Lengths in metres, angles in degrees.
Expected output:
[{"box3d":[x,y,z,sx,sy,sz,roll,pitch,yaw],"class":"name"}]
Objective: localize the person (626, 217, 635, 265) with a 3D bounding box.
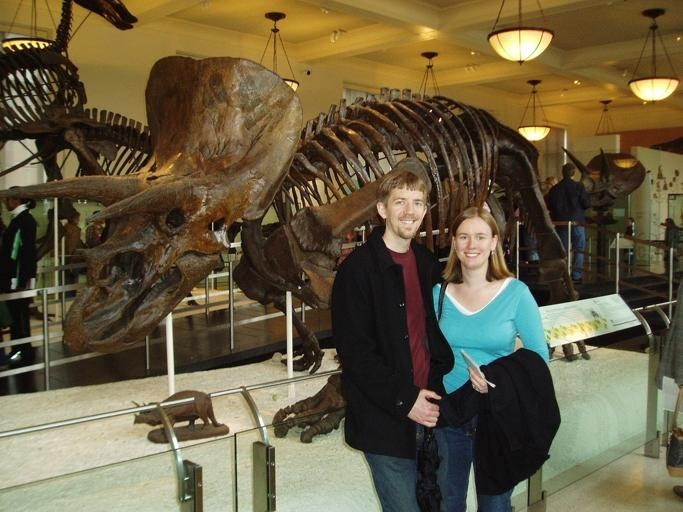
[{"box3d":[4.278,-0.209,7.738,0.128,0.715,0.235,-2,1,28],"class":"person"}]
